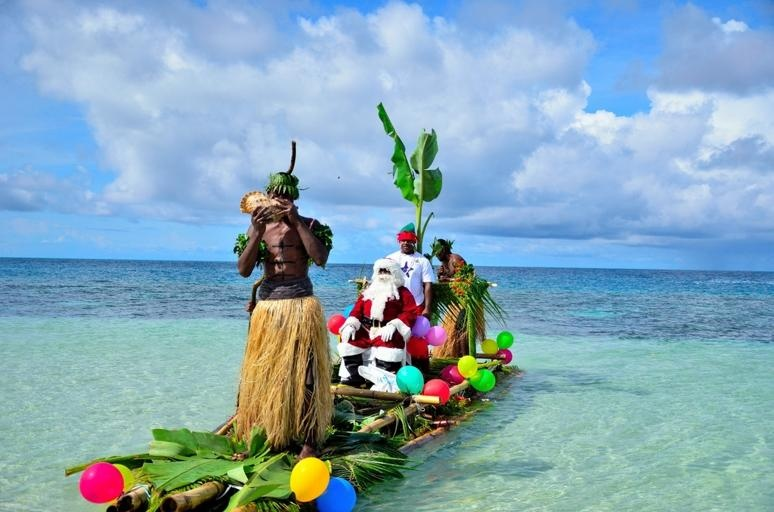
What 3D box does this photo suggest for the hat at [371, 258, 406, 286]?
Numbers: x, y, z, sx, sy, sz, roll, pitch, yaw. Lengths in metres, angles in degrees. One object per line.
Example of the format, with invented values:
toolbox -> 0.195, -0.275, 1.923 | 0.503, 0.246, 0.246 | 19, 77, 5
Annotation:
hat -> 0.153, 0.287, 9.814 | 0.458, 0.508, 0.592 | -8, -36, 28

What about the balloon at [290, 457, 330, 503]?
balloon -> -0.889, 2.553, 6.096 | 0.401, 0.442, 0.489 | -19, -27, 37

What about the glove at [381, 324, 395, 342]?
glove -> 0.038, 1.320, 9.184 | 0.242, 0.283, 0.081 | 16, 10, -16

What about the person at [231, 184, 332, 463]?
person -> -1.258, 0.853, 6.635 | 1.234, 3.216, 0.446 | 3, -2, -4

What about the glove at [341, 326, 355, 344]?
glove -> -0.672, 1.392, 9.342 | 0.233, 0.287, 0.116 | 23, -7, 25
